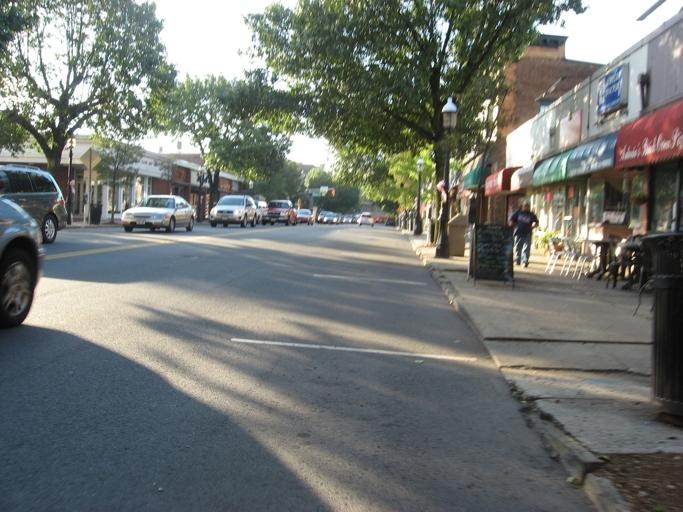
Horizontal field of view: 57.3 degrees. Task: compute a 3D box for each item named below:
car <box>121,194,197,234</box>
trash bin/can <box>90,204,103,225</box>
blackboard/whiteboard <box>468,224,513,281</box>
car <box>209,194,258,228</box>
[{"bbox_3d":[-8.669,-2.005,29.533,2.020,1.804,3.994,4,3,10],"label":"car"},{"bbox_3d":[-15.675,-2.669,39.660,0.633,1.258,1.008,1,3,-30],"label":"trash bin/can"},{"bbox_3d":[3.179,-0.085,13.516,0.915,1.656,1.021,2,7,10],"label":"blackboard/whiteboard"},{"bbox_3d":[-7.088,-2.976,41.592,2.088,2.266,3.284,4,3,11],"label":"car"}]
